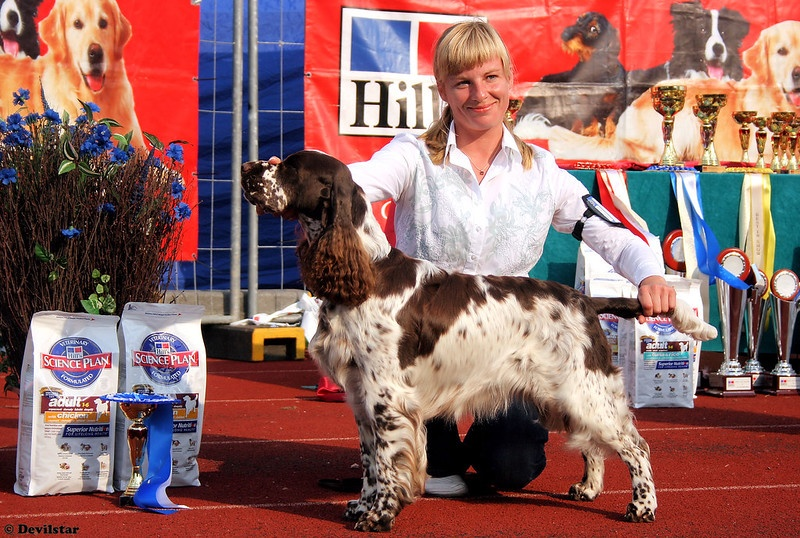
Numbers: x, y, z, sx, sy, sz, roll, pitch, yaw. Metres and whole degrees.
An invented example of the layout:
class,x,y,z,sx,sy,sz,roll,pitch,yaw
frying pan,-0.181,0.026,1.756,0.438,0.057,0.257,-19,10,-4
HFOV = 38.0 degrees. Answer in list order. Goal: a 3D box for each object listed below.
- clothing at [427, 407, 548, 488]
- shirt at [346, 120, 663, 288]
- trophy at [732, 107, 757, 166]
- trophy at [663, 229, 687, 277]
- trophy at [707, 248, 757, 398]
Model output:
class,x,y,z,sx,sy,sz,roll,pitch,yaw
clothing,0.609,1.187,8.028,0.837,0.478,0.353,9,20,16
shirt,0.569,-0.398,7.744,2.159,0.897,1.074,2,20,-10
trophy,3.461,-1.329,11.833,0.222,0.570,1.237,4,13,16
trophy,2.490,-0.180,10.721,0.346,0.335,0.083,-7,6,-24
trophy,2.932,0.474,10.619,0.553,1.375,0.499,3,-1,-27
